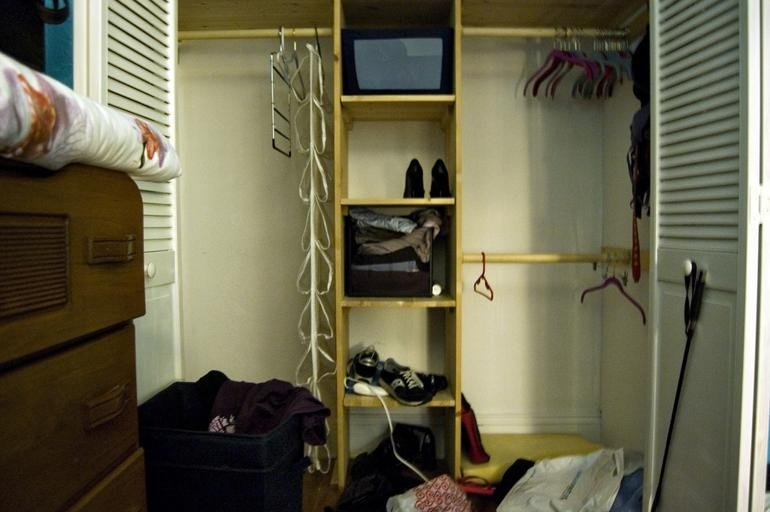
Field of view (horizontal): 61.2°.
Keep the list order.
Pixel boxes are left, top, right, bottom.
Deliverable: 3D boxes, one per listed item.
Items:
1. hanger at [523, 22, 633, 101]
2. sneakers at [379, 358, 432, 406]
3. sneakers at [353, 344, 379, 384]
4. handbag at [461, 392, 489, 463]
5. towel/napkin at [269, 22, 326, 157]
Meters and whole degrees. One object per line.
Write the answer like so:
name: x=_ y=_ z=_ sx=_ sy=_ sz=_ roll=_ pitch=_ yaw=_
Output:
hanger: x=0.978 y=-0.975 z=3.298 sx=0.454 sy=0.239 sz=0.349 roll=-1 pitch=13 yaw=6
sneakers: x=0.089 y=0.619 z=3.249 sx=0.132 sy=0.102 sz=0.270 roll=-2 pitch=7 yaw=-32
sneakers: x=-0.078 y=0.553 z=3.354 sx=0.155 sy=0.142 sz=0.193 roll=0 pitch=5 yaw=-29
handbag: x=0.438 y=0.885 z=3.336 sx=0.114 sy=0.380 sz=0.148 roll=-13 pitch=-27 yaw=2
towel/napkin: x=-0.430 y=-0.826 z=3.290 sx=0.292 sy=0.638 sz=0.503 roll=2 pitch=4 yaw=-8
